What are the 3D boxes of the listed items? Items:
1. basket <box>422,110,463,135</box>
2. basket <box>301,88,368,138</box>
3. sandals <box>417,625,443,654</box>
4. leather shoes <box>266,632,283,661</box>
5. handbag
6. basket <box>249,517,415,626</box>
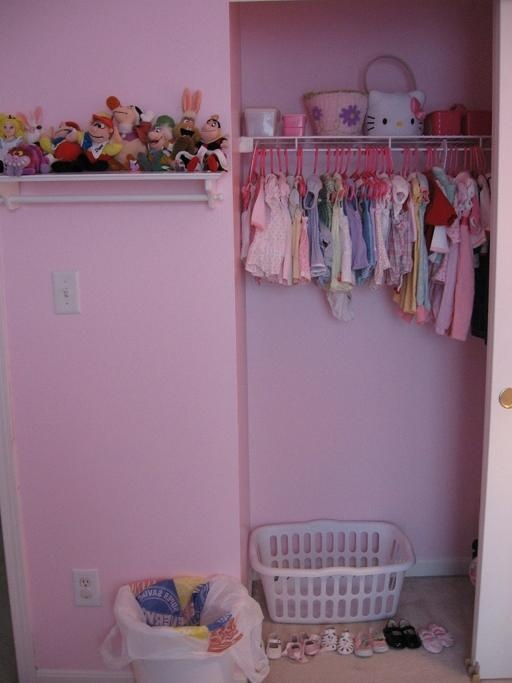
[{"bbox_3d":[0.645,-0.766,2.094,0.130,0.107,0.144,5,14,17],"label":"basket"},{"bbox_3d":[0.272,-0.764,2.118,0.179,0.120,0.183,4,8,37],"label":"basket"},{"bbox_3d":[0.589,1.011,2.057,0.064,0.024,0.118,1,14,-3],"label":"sandals"},{"bbox_3d":[0.061,1.021,2.045,0.055,0.036,0.116,2,14,2],"label":"leather shoes"},{"bbox_3d":[0.479,-0.867,2.120,0.216,0.309,0.303,3,13,9],"label":"handbag"},{"bbox_3d":[0.291,0.864,2.247,0.644,0.323,0.443,1,13,0],"label":"basket"}]
